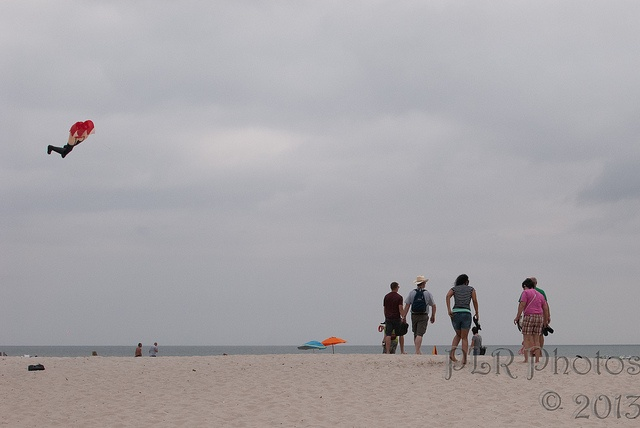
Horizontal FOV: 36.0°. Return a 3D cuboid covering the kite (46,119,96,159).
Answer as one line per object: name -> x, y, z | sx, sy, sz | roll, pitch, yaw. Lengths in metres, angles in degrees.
kite -> -9.356, -2.795, 37.329 | 1.345, 1.412, 3.013 | 0, 0, -16

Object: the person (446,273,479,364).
person -> 4.015, 3.071, 27.727 | 0.827, 2.649, 1.258 | 0, -1, 6

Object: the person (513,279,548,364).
person -> 6.114, 3.089, 28.263 | 0.921, 2.415, 0.845 | 0, -1, 13
